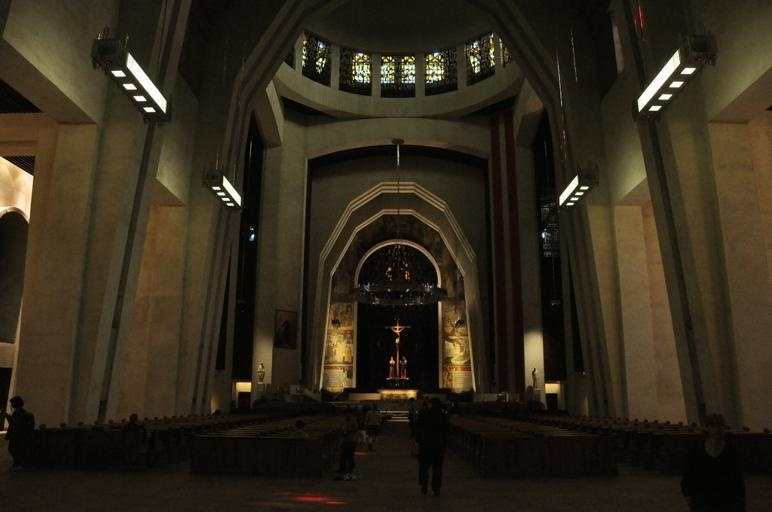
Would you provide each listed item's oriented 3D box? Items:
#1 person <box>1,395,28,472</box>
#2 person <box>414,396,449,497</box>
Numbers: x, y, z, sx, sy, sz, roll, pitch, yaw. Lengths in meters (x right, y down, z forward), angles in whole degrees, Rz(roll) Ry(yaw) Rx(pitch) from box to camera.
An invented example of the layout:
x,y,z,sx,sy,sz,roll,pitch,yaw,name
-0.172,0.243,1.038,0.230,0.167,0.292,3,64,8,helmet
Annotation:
x,y,z,sx,sy,sz,roll,pitch,yaw,name
-7.199,3.362,11.329,0.460,1.319,1.420,10,-21,-30,person
0.771,3.167,9.887,0.541,1.675,0.502,1,12,3,person
